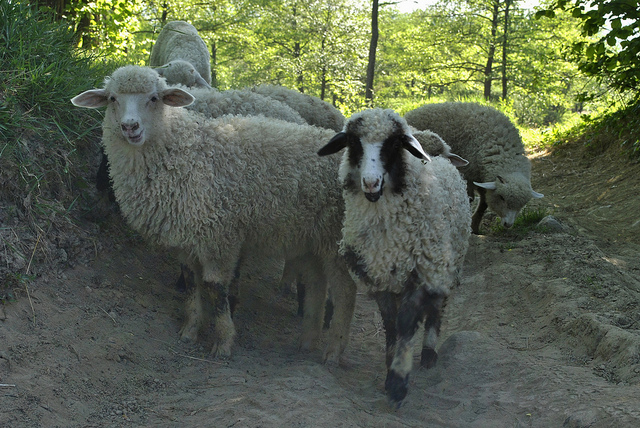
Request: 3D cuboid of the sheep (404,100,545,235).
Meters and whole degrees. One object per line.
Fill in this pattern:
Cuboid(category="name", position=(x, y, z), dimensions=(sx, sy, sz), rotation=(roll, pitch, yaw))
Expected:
Cuboid(category="sheep", position=(3.238, -1.065, 13.907), dimensions=(1.569, 2.867, 4.213), rotation=(-7, 29, -11))

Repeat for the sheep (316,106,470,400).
Cuboid(category="sheep", position=(0.988, 0.471, 8.762), dimensions=(1.953, 3.664, 1.190), rotation=(8, 8, 0))
